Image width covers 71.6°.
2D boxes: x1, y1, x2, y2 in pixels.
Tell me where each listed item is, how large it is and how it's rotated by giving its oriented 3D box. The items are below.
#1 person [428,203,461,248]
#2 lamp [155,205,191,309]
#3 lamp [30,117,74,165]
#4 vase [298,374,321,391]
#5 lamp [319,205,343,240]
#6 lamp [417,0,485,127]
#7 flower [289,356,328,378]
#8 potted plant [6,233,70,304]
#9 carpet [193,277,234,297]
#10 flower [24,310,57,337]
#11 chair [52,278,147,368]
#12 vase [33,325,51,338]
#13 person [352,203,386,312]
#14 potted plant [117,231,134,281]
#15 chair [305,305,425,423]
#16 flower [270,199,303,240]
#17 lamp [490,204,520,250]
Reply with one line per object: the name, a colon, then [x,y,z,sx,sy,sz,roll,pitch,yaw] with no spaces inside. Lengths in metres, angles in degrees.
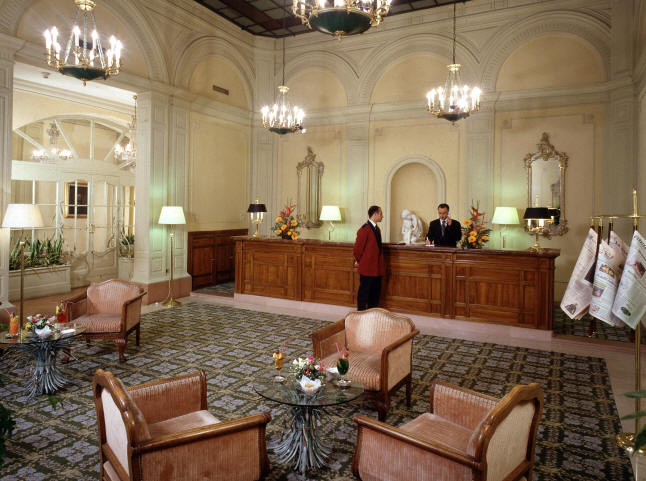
person: [2.454,-0.326,8.990,0.727,0.830,0.596,0,8,1]
lamp: [-3.223,0.300,9.588,0.502,2.071,1.080,-3,8,-20]
lamp: [-6.383,-2.371,10.621,0.775,0.962,0.828,1,4,6]
vase: [-0.125,1.370,4.302,0.133,0.056,0.145,-6,33,-11]
lamp: [0.248,-0.452,11.259,0.693,1.062,0.736,2,5,12]
lamp: [2.753,-3.764,9.201,1.163,2.815,2.908,2,8,13]
flower: [-0.153,1.238,4.425,0.231,0.185,0.231,0,4,-19]
potted plant: [-6.127,0.642,9.541,0.510,1.404,1.324,0,1,30]
carpet: [-2.584,1.175,10.688,0.871,0.131,1.804,-2,9,-12]
flower: [-3.621,1.089,5.762,0.368,0.246,0.377,14,4,29]
chair: [-3.255,1.123,6.587,1.012,1.307,1.140,1,4,8]
vase: [-3.530,1.143,5.613,0.151,0.122,0.141,-1,5,-10]
person: [0.840,0.356,7.962,0.556,1.921,0.609,1,7,6]
potted plant: [-5.137,0.368,11.667,0.381,1.145,0.938,-3,9,-25]
chair: [0.460,1.578,5.440,1.263,1.408,1.026,3,6,39]
flower: [-0.797,-0.477,9.821,0.790,1.032,0.855,1,2,-8]
lamp: [3.974,-0.261,9.712,0.544,0.947,0.810,3,8,21]
